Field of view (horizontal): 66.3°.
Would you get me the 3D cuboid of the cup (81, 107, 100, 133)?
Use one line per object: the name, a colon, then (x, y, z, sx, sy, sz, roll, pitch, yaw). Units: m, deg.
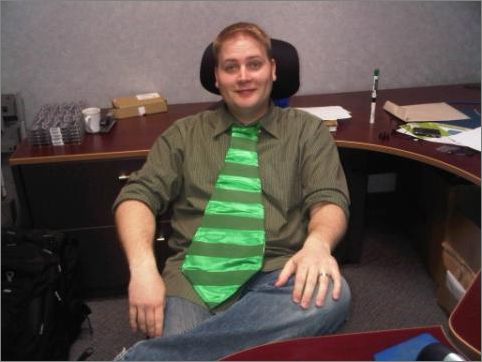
cup: (-0.775, -0.325, 1.971, 0.092, 0.126, 0.134, 5, 24, -4)

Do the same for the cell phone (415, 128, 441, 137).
cell phone: (0.904, -0.241, 1.762, 0.094, 0.018, 0.053, 6, 23, 16)

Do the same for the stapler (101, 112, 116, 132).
stapler: (-0.725, -0.320, 2.000, 0.072, 0.021, 0.117, 1, 31, 0)

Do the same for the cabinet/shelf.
cabinet/shelf: (-0.656, 0.189, 1.614, 0.657, 0.585, 0.248, -3, 21, -8)
